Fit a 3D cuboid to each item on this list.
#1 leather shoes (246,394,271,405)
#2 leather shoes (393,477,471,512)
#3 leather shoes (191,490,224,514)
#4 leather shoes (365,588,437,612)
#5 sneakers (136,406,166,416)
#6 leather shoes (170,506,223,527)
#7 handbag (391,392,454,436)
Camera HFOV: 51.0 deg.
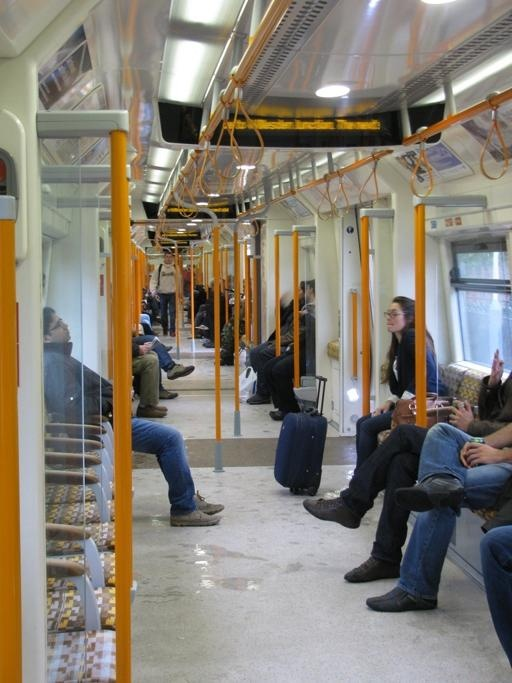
[{"bbox_3d":[0.070,1.047,9.700,0.379,0.168,0.158,6,-3,-11],"label":"leather shoes"},{"bbox_3d":[0.894,0.806,2.745,0.398,0.199,0.283,-1,2,2],"label":"leather shoes"},{"bbox_3d":[-0.404,1.361,4.541,0.278,0.197,0.118,-3,6,-11],"label":"leather shoes"},{"bbox_3d":[0.791,1.428,3.018,0.409,0.167,0.139,3,-8,1],"label":"leather shoes"},{"bbox_3d":[-1.606,1.098,8.378,0.243,0.092,0.246,-3,3,2],"label":"sneakers"},{"bbox_3d":[-0.495,1.403,4.357,0.378,0.148,0.149,-1,0,-8],"label":"leather shoes"},{"bbox_3d":[1.206,0.529,3.976,0.394,0.152,0.310,-4,-5,33],"label":"handbag"}]
